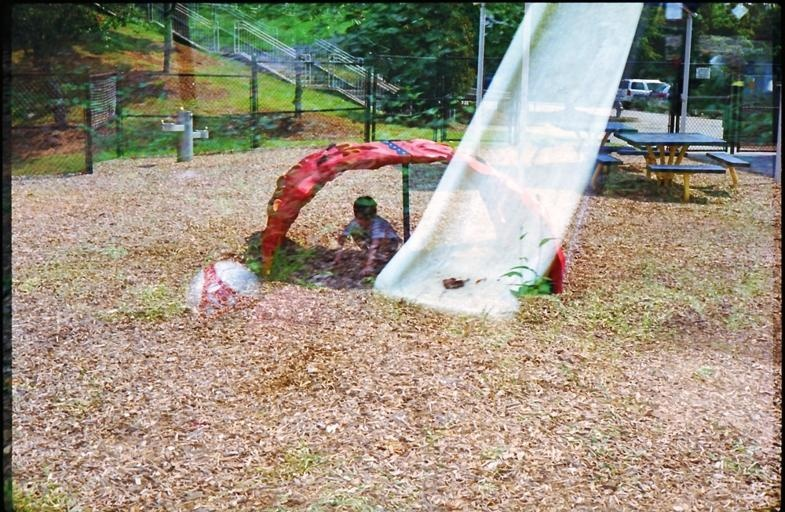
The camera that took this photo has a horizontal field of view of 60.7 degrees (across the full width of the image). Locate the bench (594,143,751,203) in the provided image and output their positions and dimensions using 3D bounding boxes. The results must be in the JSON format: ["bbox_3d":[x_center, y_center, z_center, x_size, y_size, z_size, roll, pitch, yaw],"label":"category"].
[{"bbox_3d":[4.250,-1.378,10.540,1.750,0.360,1.645,-5,17,-12],"label":"bench"}]

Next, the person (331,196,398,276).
[{"bbox_3d":[-0.315,-0.197,7.702,0.581,0.732,0.657,33,54,26],"label":"person"}]

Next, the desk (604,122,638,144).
[{"bbox_3d":[4.344,-2.382,12.622,0.652,0.205,0.907,-1,22,5],"label":"desk"}]

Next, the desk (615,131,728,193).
[{"bbox_3d":[4.305,-1.554,10.665,1.503,0.819,2.958,9,18,16],"label":"desk"}]
